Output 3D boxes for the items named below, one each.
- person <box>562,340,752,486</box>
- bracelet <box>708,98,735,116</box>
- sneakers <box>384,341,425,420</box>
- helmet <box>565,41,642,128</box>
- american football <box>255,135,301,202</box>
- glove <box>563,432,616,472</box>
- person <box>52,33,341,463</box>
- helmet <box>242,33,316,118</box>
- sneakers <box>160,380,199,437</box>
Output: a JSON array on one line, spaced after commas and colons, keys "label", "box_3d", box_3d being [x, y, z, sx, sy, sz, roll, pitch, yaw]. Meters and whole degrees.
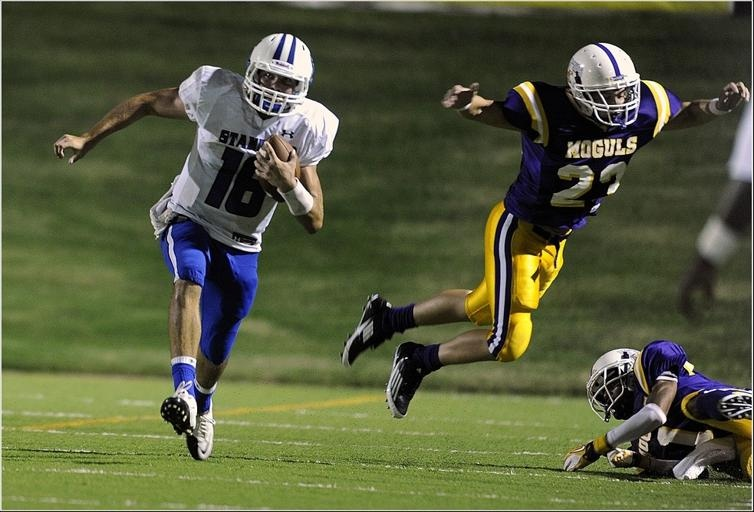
[{"label": "person", "box_3d": [2.005, 1.096, 7.929, 1.265, 0.999, 0.465, 8, 0, 10]}, {"label": "bracelet", "box_3d": [2.450, -1.068, 8.146, 0.153, 0.113, 0.101, -5, -5, -29]}, {"label": "sneakers", "box_3d": [0.236, 0.937, 8.646, 0.322, 0.578, 0.237, 6, -3, 32]}, {"label": "helmet", "box_3d": [1.602, -1.266, 8.133, 0.522, 0.460, 0.646, -24, 37, -32]}, {"label": "american football", "box_3d": [-0.665, -0.623, 7.976, 0.278, 0.396, 0.337, -23, 29, -25]}, {"label": "glove", "box_3d": [1.454, 1.392, 8.017, 0.491, 0.154, 0.198, -24, -1, 22]}, {"label": "person", "box_3d": [-1.166, -0.073, 7.887, 1.474, 3.013, 0.611, 9, 0, -4]}, {"label": "helmet", "box_3d": [-0.682, -1.318, 8.157, 0.505, 0.484, 0.629, 12, 25, -10]}, {"label": "sneakers", "box_3d": [-1.291, 1.015, 7.578, 0.175, 0.397, 0.225, -2, 43, 0]}]
